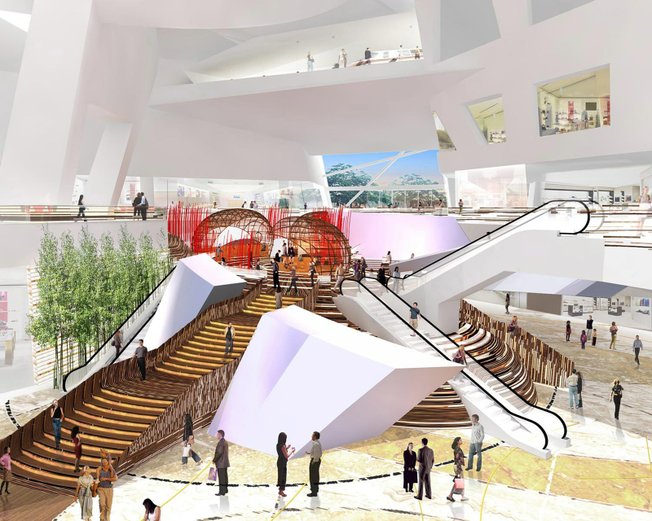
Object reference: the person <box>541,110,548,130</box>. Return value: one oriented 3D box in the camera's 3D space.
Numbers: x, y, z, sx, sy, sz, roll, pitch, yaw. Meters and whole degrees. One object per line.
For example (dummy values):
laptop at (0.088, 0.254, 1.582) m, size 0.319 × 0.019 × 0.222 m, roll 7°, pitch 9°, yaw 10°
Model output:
person at (9.201, -5.907, 19.011) m, size 0.283 × 0.791 × 0.248 m, roll 4°, pitch 3°, yaw 33°

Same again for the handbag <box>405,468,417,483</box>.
handbag at (1.512, 3.780, 8.006) m, size 0.219 × 0.340 × 0.179 m, roll 4°, pitch 19°, yaw 8°

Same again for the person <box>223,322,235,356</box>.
person at (-2.749, 2.199, 13.071) m, size 0.256 × 0.841 × 0.866 m, roll 1°, pitch 4°, yaw -12°

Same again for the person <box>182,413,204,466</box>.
person at (-2.793, 3.502, 9.453) m, size 0.360 × 1.001 × 1.170 m, roll 1°, pitch 4°, yaw -18°

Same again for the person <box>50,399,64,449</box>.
person at (-5.605, 3.372, 9.472) m, size 0.225 × 0.786 × 0.797 m, roll 0°, pitch 4°, yaw -30°

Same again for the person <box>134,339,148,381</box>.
person at (-4.869, 2.589, 11.959) m, size 0.291 × 1.013 × 0.549 m, roll 0°, pitch 3°, yaw -24°

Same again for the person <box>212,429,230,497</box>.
person at (-1.790, 3.457, 7.774) m, size 0.254 × 1.206 × 0.455 m, roll 1°, pitch 3°, yaw -13°

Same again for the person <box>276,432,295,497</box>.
person at (-0.723, 3.481, 7.877) m, size 0.212 × 1.174 × 0.496 m, roll 2°, pitch 3°, yaw 7°
